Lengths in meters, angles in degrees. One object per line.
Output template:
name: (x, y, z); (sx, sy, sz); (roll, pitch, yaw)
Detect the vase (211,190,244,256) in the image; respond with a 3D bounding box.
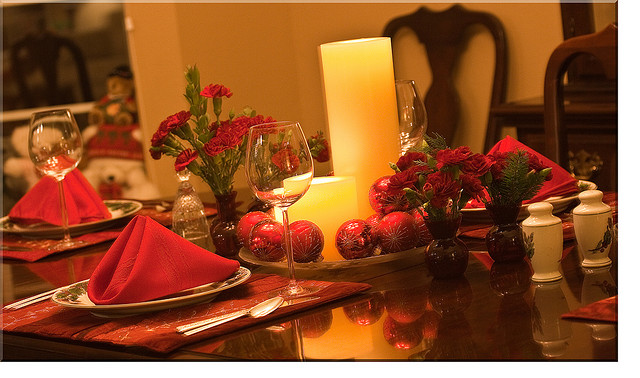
vase: (-0.245, 0.085, 1.106); (0.104, 0.161, 0.103); (-5, 12, -10)

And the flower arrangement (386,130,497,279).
flower arrangement: (0.201, 0.033, 0.922); (0.284, 0.345, 0.265); (-4, 1, -1)

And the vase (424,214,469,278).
vase: (0.255, 0.113, 0.834); (0.096, 0.123, 0.096); (-8, 3, 25)

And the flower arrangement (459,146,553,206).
flower arrangement: (0.368, -0.026, 0.822); (0.134, 0.087, 0.136); (3, 4, 34)

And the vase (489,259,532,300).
vase: (0.354, 0.173, 0.783); (0.073, 0.048, 0.047); (-1, 0, -45)

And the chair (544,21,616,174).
chair: (0.849, -0.287, 1.382); (0.191, 0.446, 0.232); (-1, 12, 27)

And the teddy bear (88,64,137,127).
teddy bear: (-1.798, -0.824, 3.633); (0.367, 0.578, 0.744); (-11, 11, -20)

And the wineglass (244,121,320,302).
wineglass: (-0.061, 0.040, 0.835); (0.160, 0.311, 0.159); (-8, 3, -8)

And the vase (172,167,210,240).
vase: (-0.391, 0.047, 1.239); (0.103, 0.204, 0.103); (-6, 5, 10)

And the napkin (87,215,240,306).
napkin: (-0.318, 0.084, 0.844); (0.215, 0.170, 0.259); (-14, 13, -42)

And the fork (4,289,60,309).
fork: (-0.590, 0.227, 0.859); (0.020, 0.004, 0.114); (10, 16, 36)

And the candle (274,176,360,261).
candle: (-0.005, 0.064, 0.965); (0.197, 0.194, 0.177); (-1, -2, -7)

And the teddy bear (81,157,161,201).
teddy bear: (-1.538, -0.085, 3.200); (0.443, 0.286, 0.481); (-8, 6, -11)

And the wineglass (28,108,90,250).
wineglass: (-0.765, -0.046, 1.280); (0.147, 0.486, 0.171); (0, 4, -21)

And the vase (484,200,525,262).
vase: (0.367, 0.087, 0.849); (0.054, 0.149, 0.065); (1, 2, 1)

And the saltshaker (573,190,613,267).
saltshaker: (0.540, 0.069, 0.822); (0.063, 0.137, 0.128); (3, 14, 40)
